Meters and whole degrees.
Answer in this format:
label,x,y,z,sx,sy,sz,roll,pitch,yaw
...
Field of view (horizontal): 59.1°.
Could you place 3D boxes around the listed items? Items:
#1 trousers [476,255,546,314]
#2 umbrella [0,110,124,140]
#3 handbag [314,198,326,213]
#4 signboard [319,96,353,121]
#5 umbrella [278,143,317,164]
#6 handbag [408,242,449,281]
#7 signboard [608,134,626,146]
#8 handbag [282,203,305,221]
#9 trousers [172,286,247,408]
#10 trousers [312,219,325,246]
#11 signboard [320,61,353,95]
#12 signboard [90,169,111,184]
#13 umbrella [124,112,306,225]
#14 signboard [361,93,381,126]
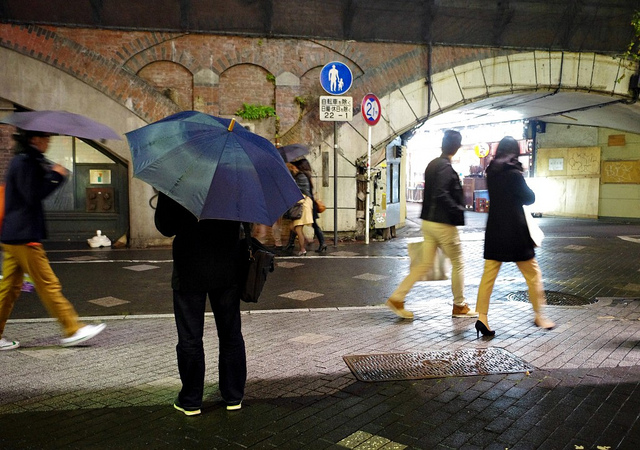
label,x,y,z,sx,sy,sz,roll,pitch,yaw
trousers,2.980,0.930,8.854,0.971,0.984,0.362,0,4,15
umbrella,-3.143,-1.264,6.795,1.296,0.316,0.577,1,8,6
handbag,-0.030,-0.581,14.409,0.203,0.398,0.384,-32,6,-1
signboard,0.416,-3.311,15.347,0.748,0.514,0.100,1,-1,0
umbrella,-0.654,-1.934,13.830,0.800,0.560,0.767,-3,28,-7
handbag,1.608,0.494,8.401,0.575,0.580,0.250,-1,10,1
signboard,12.732,-3.836,24.281,0.414,0.508,0.762,3,-2,-37
handbag,-0.621,-0.399,13.503,0.444,0.209,0.537,-3,42,7
trousers,-1.104,0.964,5.754,0.683,1.891,0.517,-5,25,-16
trousers,-0.052,0.131,14.225,0.197,0.786,0.231,-6,9,13
signboard,0.420,-4.162,15.428,1.104,1.074,0.114,10,7,-6
signboard,-6.465,-1.540,16.539,0.434,0.297,0.057,0,-5,-5
umbrella,-1.025,-0.665,5.420,1.301,1.268,0.618,13,-45,-29
signboard,1.361,-3.305,15.452,0.279,0.881,0.683,7,11,44
